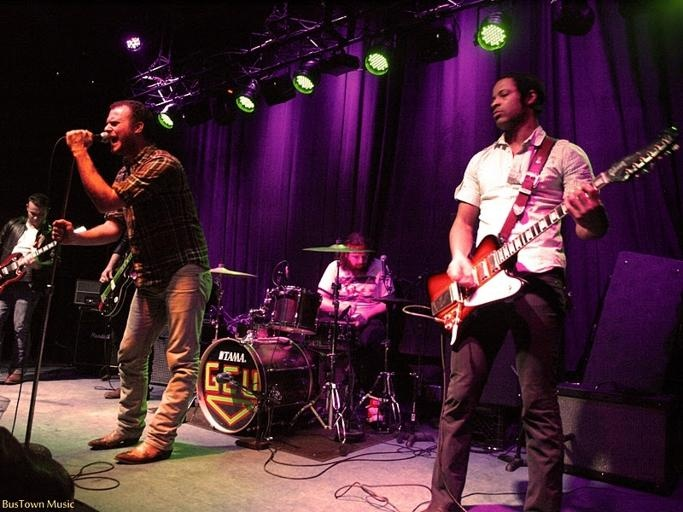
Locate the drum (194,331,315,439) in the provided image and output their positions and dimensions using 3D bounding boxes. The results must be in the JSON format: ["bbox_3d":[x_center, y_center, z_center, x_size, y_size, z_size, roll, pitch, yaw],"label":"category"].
[{"bbox_3d":[-0.789,1.073,4.234,0.951,0.899,0.718,0,-7,34],"label":"drum"}]

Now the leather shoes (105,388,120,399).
[{"bbox_3d":[-2.430,1.452,5.184,0.089,0.060,0.145,8,-1,-26],"label":"leather shoes"}]

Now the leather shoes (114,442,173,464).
[{"bbox_3d":[-1.307,1.292,3.250,0.134,0.100,0.302,-14,-24,40],"label":"leather shoes"}]

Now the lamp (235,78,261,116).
[{"bbox_3d":[-1.289,-2.215,6.660,0.235,0.392,0.362,3,-1,-26],"label":"lamp"}]

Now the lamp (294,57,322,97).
[{"bbox_3d":[-0.430,-2.240,5.973,0.314,0.357,0.308,2,-1,-6],"label":"lamp"}]

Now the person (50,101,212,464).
[{"bbox_3d":[-1.369,0.137,3.389,0.900,2.424,0.698,2,-1,-11],"label":"person"}]

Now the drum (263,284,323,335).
[{"bbox_3d":[-0.429,0.476,4.440,0.414,0.314,0.428,4,-11,1],"label":"drum"}]

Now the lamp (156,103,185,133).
[{"bbox_3d":[-2.570,-2.079,7.298,0.265,0.278,0.359,18,-39,-2],"label":"lamp"}]

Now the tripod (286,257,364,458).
[{"bbox_3d":[-0.077,0.870,4.339,0.535,1.374,0.521,3,10,-4],"label":"tripod"}]

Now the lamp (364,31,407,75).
[{"bbox_3d":[0.493,-2.340,5.672,0.432,0.368,0.434,2,-1,14],"label":"lamp"}]

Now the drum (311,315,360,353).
[{"bbox_3d":[-0.086,0.701,4.430,0.311,0.235,0.313,1,-8,0],"label":"drum"}]
